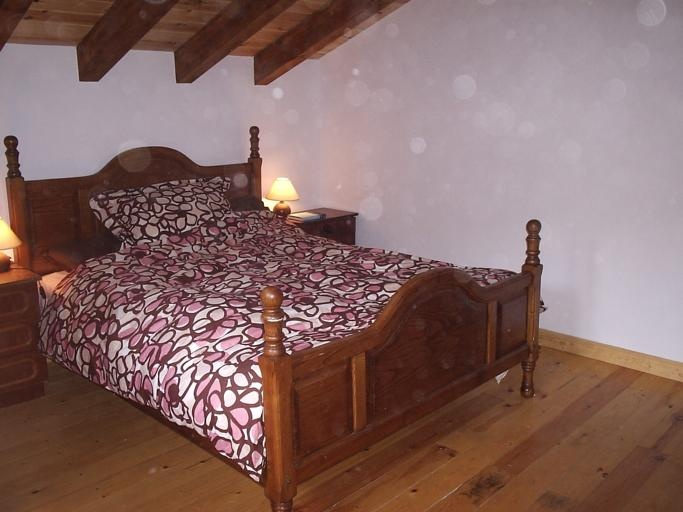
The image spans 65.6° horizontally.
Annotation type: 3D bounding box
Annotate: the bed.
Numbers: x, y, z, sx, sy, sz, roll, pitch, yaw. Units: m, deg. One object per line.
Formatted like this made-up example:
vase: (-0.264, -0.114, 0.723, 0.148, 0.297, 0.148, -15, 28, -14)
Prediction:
bed: (-0.443, 0.250, 3.384, 2.497, 1.484, 1.852, 5, 9, 36)

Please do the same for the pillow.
pillow: (-1.322, -0.333, 4.033, 0.861, 0.170, 0.551, -15, 57, -34)
